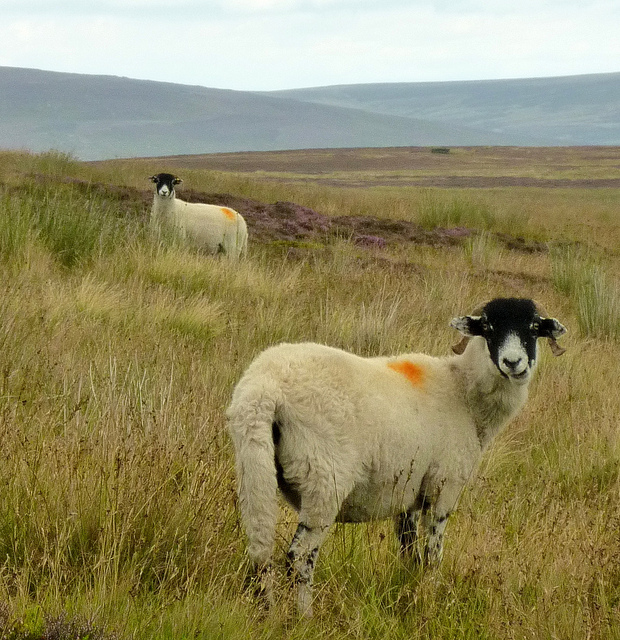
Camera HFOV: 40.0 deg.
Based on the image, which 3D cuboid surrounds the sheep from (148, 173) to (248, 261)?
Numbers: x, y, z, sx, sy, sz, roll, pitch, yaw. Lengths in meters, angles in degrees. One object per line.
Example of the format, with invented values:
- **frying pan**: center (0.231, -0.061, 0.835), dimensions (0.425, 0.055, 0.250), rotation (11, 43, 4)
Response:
- **sheep**: center (-1.759, -1.698, 13.689), dimensions (1.567, 1.215, 0.934), rotation (2, 9, -16)

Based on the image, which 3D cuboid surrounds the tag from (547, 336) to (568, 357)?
- **tag**: center (1.547, 0.172, 5.349), dimensions (0.037, 0.166, 0.094), rotation (-29, 7, -34)

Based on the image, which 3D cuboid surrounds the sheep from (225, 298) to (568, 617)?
- **sheep**: center (0.581, 0.692, 4.917), dimensions (1.868, 1.940, 0.912), rotation (-4, 15, -14)
